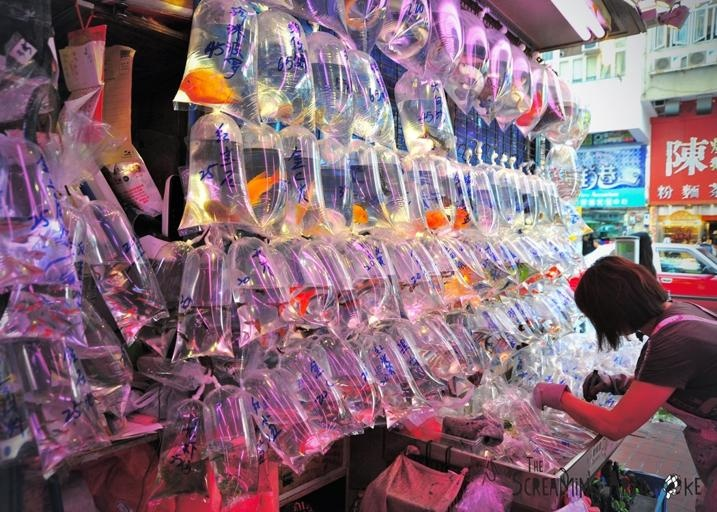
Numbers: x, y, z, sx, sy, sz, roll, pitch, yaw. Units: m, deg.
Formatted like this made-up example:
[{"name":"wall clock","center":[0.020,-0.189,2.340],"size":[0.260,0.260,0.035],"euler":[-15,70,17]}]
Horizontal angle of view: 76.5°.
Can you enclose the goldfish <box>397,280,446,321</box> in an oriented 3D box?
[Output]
[{"name":"goldfish","center":[0.240,0.174,1.756],"size":[0.146,0.140,0.076],"euler":[-10,23,-7]}]

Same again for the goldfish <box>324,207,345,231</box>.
[{"name":"goldfish","center":[-0.085,-0.125,1.562],"size":[0.058,0.077,0.019],"euler":[-25,13,-27]}]

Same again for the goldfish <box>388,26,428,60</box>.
[{"name":"goldfish","center":[0.194,-0.819,1.742],"size":[0.110,0.039,0.114],"euler":[22,-51,-42]}]

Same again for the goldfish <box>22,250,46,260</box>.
[{"name":"goldfish","center":[-0.703,-0.003,0.978],"size":[0.012,0.012,0.033],"euler":[-3,-1,26]}]

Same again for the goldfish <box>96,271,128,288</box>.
[{"name":"goldfish","center":[-0.680,0.063,1.250],"size":[0.052,0.054,0.051],"euler":[-3,8,-18]}]

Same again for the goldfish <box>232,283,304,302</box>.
[{"name":"goldfish","center":[-0.271,0.119,1.392],"size":[0.213,0.052,0.048],"euler":[-3,4,-29]}]

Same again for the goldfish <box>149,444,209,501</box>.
[{"name":"goldfish","center":[-0.538,0.659,1.372],"size":[0.151,0.167,0.050],"euler":[3,-4,-17]}]

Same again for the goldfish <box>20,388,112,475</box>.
[{"name":"goldfish","center":[-0.704,0.419,1.085],"size":[0.054,0.172,0.170],"euler":[-3,4,38]}]

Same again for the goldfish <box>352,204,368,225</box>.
[{"name":"goldfish","center":[0.003,-0.155,1.680],"size":[0.021,0.066,0.053],"euler":[11,28,37]}]

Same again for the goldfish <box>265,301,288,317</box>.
[{"name":"goldfish","center":[-0.244,0.163,1.386],"size":[0.037,0.019,0.052],"euler":[7,-17,-29]}]

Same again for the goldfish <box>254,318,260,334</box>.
[{"name":"goldfish","center":[-0.307,0.213,1.378],"size":[0.007,0.031,0.020],"euler":[-6,10,-24]}]

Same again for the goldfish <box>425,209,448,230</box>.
[{"name":"goldfish","center":[0.322,-0.153,1.894],"size":[0.121,0.081,0.024],"euler":[-4,4,-40]}]

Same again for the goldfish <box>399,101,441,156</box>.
[{"name":"goldfish","center":[0.248,-0.543,1.965],"size":[0.149,0.225,0.097],"euler":[-8,20,-5]}]

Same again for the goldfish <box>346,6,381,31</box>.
[{"name":"goldfish","center":[0.015,-0.809,1.518],"size":[0.084,0.089,0.035],"euler":[4,42,-16]}]

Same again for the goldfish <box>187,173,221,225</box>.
[{"name":"goldfish","center":[-0.450,-0.163,1.301],"size":[0.087,0.148,0.051],"euler":[-1,6,-3]}]

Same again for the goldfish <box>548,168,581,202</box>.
[{"name":"goldfish","center":[1.347,-0.472,3.059],"size":[0.170,0.233,0.226],"euler":[-15,-1,3]}]

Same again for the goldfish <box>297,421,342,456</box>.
[{"name":"goldfish","center":[-0.136,0.614,1.544],"size":[0.126,0.120,0.048],"euler":[2,5,-41]}]

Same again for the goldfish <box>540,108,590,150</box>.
[{"name":"goldfish","center":[1.345,-0.838,2.939],"size":[0.193,0.255,0.507],"euler":[1,4,38]}]

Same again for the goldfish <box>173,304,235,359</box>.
[{"name":"goldfish","center":[-0.452,0.224,1.330],"size":[0.147,0.162,0.050],"euler":[-1,6,-15]}]

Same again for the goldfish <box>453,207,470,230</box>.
[{"name":"goldfish","center":[0.450,-0.167,2.028],"size":[0.042,0.099,0.114],"euler":[1,4,40]}]

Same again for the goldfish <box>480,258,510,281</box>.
[{"name":"goldfish","center":[0.631,0.067,2.118],"size":[0.101,0.045,0.098],"euler":[25,-14,41]}]

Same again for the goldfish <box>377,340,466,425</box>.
[{"name":"goldfish","center":[0.195,0.458,1.757],"size":[0.319,0.320,0.117],"euler":[-3,3,-23]}]

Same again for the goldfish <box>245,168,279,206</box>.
[{"name":"goldfish","center":[-0.292,-0.205,1.355],"size":[0.164,0.092,0.039],"euler":[-18,-22,33]}]
